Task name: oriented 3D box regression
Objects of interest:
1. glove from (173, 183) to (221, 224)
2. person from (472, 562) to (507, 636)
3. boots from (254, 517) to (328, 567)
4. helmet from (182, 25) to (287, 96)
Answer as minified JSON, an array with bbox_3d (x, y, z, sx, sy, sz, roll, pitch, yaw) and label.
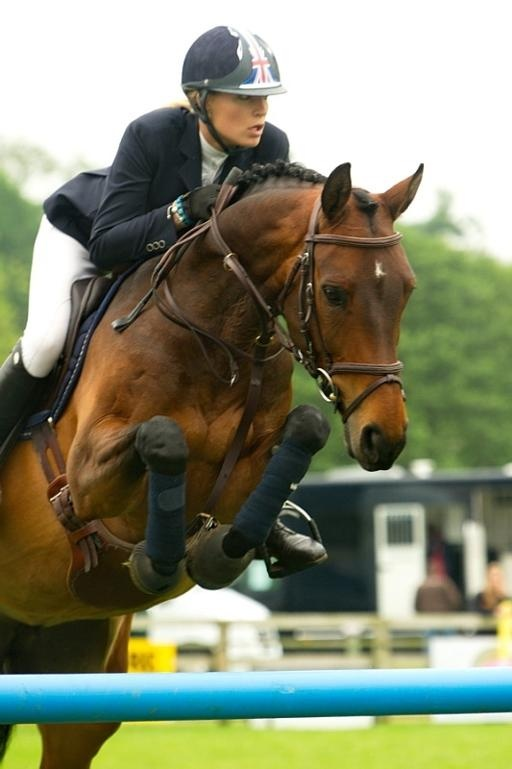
[{"bbox_3d":[-0.193,-0.576,3.020,0.050,0.147,0.112,44,-3,-37],"label":"glove"},{"bbox_3d":[2.697,2.349,10.764,0.360,0.625,1.328,1,-3,7],"label":"person"},{"bbox_3d":[0.118,0.525,3.064,0.088,0.089,0.231,-9,3,-29],"label":"boots"},{"bbox_3d":[-0.081,-1.089,3.187,0.352,0.275,0.188,1,-3,1],"label":"helmet"}]
